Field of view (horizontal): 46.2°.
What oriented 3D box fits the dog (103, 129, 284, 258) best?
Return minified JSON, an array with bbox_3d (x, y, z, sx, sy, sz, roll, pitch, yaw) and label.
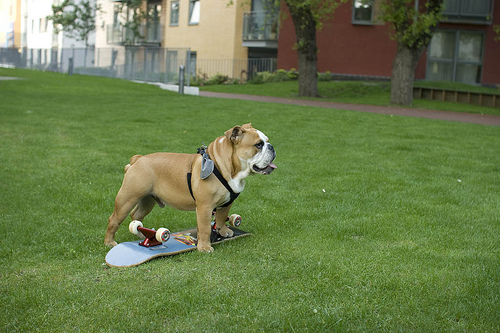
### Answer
[{"bbox_3d":[-0.842,0.090,10.654,3.120,2.412,1.703,1,19,4],"label":"dog"}]
